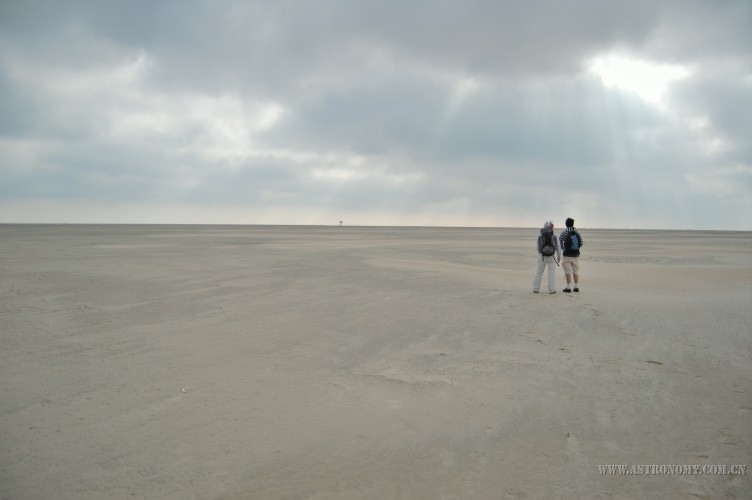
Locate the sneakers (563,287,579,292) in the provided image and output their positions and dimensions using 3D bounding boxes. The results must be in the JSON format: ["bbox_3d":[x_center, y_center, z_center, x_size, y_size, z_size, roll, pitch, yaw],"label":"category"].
[{"bbox_3d":[6.715,1.373,17.335,0.529,0.218,0.227,1,-5,-2],"label":"sneakers"}]
